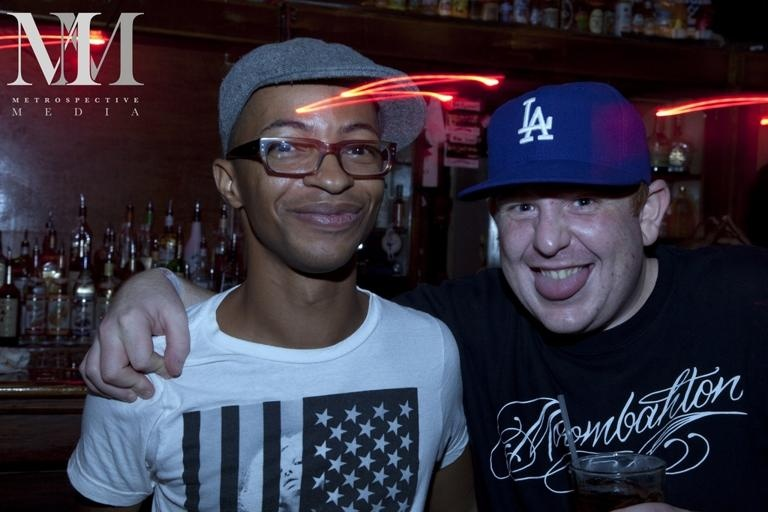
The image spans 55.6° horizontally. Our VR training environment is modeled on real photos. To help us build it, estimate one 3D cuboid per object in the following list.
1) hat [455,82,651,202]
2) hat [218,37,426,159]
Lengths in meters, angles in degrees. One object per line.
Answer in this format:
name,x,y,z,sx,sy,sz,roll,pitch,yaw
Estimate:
hat,0.673,-0.437,2.772,0.440,0.286,0.580,-6,-3,45
hat,-0.267,-0.532,2.749,0.643,0.323,0.494,-12,-7,21
